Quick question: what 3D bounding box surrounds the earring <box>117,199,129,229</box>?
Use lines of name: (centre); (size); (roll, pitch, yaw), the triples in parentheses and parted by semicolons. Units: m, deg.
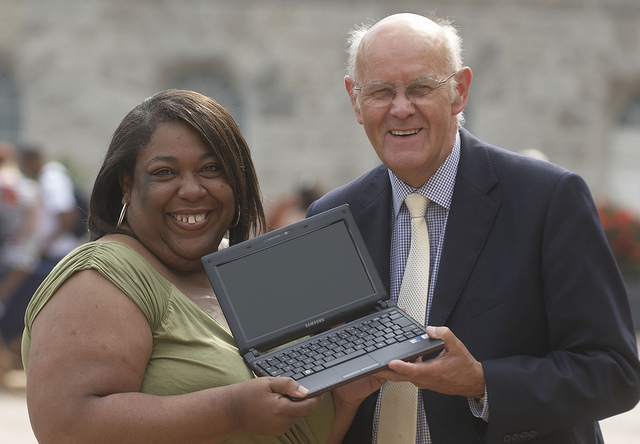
earring: (-1.236, -0.063, 5.608); (0.033, 0.138, 0.148); (21, -48, -6)

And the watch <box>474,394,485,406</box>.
watch: (0.958, 1.068, 5.435); (0.051, 0.054, 0.054); (-6, 0, 9)
